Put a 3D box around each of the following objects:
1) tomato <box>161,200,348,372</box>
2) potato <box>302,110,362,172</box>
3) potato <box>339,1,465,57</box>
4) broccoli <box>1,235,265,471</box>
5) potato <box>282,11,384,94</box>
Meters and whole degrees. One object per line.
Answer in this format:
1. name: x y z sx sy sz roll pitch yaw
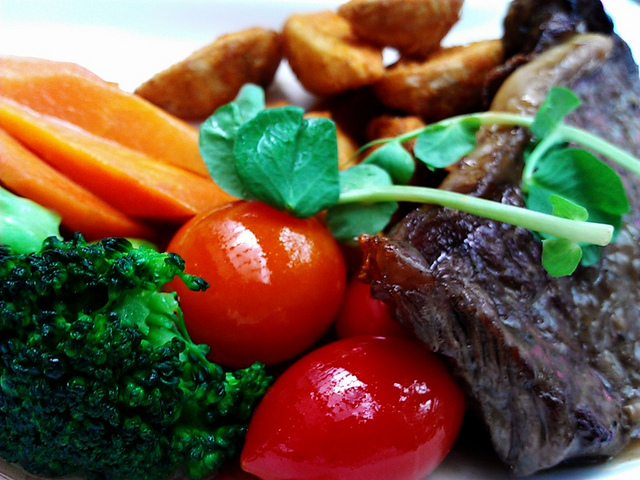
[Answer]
1. tomato: -0.090 0.080 1.421 0.333 0.354 0.346 13 3 11
2. potato: 0.017 -0.239 1.624 0.158 0.065 0.173 17 52 -37
3. potato: 0.190 -0.537 1.591 0.286 0.123 0.099 9 44 3
4. broccoli: -0.350 0.224 1.172 0.470 0.338 0.317 10 44 5
5. potato: 0.041 -0.503 1.661 0.300 0.130 0.277 13 42 23
